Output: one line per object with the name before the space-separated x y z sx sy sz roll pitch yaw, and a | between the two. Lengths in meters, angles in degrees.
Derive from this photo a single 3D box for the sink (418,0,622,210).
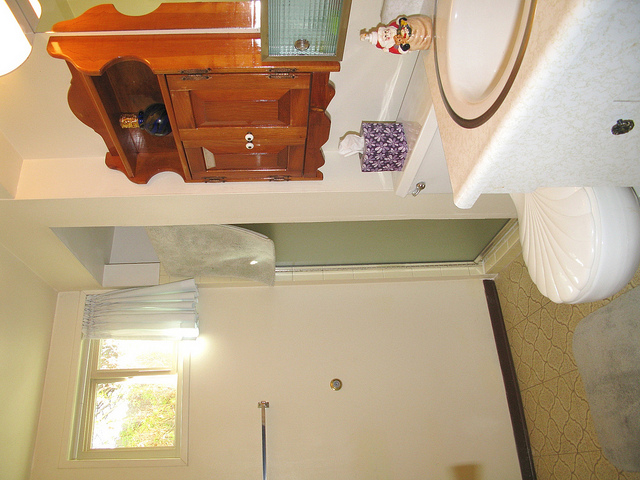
sink | 0.605 -0.627 1.543 0.268 0.732 0.717 -7 58 -5

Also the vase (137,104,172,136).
vase | -1.071 -0.752 2.765 0.225 0.197 0.176 -13 73 -33

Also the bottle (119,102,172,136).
bottle | -1.120 -0.739 2.745 0.270 0.184 0.164 -2 85 10
